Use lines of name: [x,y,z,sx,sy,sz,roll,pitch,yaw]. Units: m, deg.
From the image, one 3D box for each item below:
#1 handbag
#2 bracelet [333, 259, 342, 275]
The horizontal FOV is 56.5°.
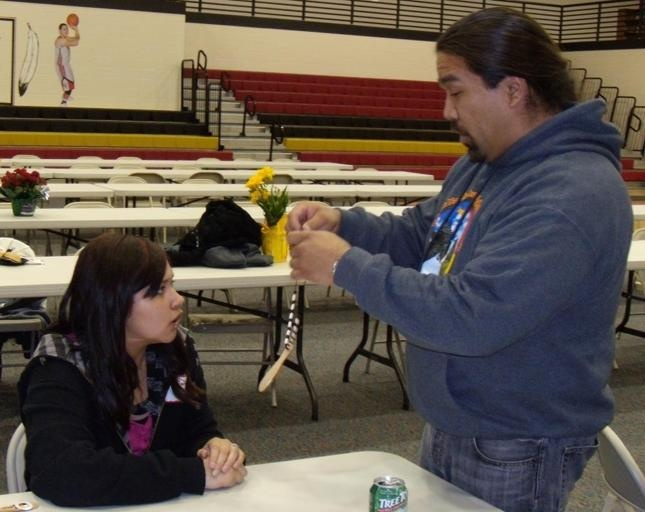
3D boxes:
handbag: [-0.567,-0.119,3.142,0.365,0.216,0.484,-2,-1,0]
bracelet: [0.027,0.022,1.295,0.006,0.023,0.024,19,-12,-2]
